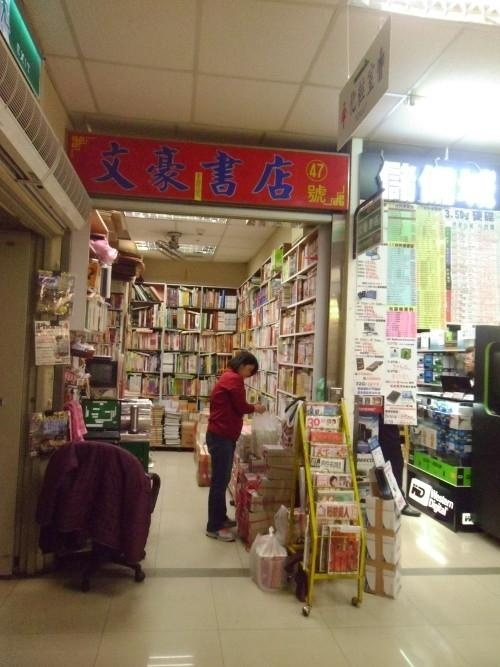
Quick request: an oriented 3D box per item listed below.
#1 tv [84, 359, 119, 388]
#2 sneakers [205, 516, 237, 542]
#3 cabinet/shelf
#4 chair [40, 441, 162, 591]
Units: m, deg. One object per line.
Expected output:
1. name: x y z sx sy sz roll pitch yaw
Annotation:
1. tv: -1.245 0.339 4.204 0.234 0.251 0.241 3 -4 -6
2. sneakers: -0.201 1.395 3.531 0.097 0.120 0.268 17 -19 -35
3. cabinet/shelf: -0.799 -0.396 6.734 2.230 3.414 2.539 1 -9 -6
4. chair: -0.696 0.937 2.802 0.623 0.810 0.744 2 -4 -5
